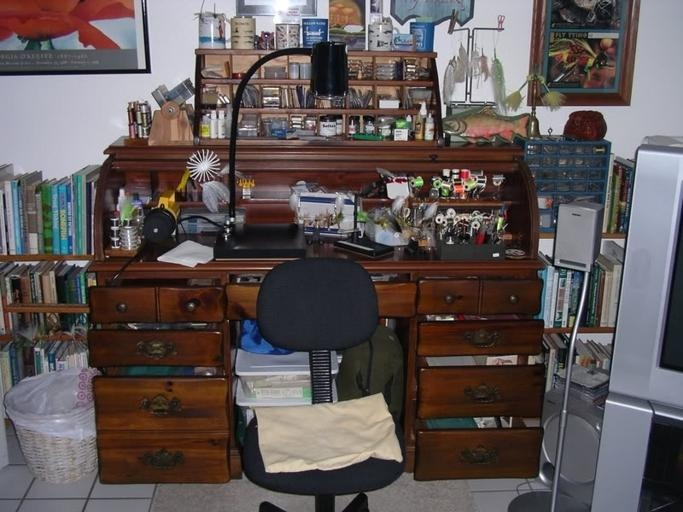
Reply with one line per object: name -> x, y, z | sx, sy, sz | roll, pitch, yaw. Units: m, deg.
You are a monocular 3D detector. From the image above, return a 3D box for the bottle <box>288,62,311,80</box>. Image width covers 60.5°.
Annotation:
bottle -> -0.214, -0.954, 3.039 | 0.113, 0.098, 0.109 | 0, 15, -8

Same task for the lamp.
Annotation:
lamp -> -0.260, -0.564, 2.764 | 0.603, 0.816, 0.160 | 0, 12, 9

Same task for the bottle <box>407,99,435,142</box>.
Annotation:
bottle -> 0.425, -0.707, 3.068 | 0.136, 0.214, 0.142 | -2, 11, 0

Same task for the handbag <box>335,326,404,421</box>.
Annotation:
handbag -> 0.119, 0.534, 2.628 | 0.290, 0.504, 0.386 | -2, 18, -11

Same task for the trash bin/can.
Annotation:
trash bin/can -> -1.395, 0.817, 3.069 | 0.607, 0.483, 0.534 | -4, 12, -29

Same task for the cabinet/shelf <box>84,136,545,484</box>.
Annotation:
cabinet/shelf -> -0.125, 0.284, 2.725 | 1.792, 1.233, 0.645 | -1, 10, -3
